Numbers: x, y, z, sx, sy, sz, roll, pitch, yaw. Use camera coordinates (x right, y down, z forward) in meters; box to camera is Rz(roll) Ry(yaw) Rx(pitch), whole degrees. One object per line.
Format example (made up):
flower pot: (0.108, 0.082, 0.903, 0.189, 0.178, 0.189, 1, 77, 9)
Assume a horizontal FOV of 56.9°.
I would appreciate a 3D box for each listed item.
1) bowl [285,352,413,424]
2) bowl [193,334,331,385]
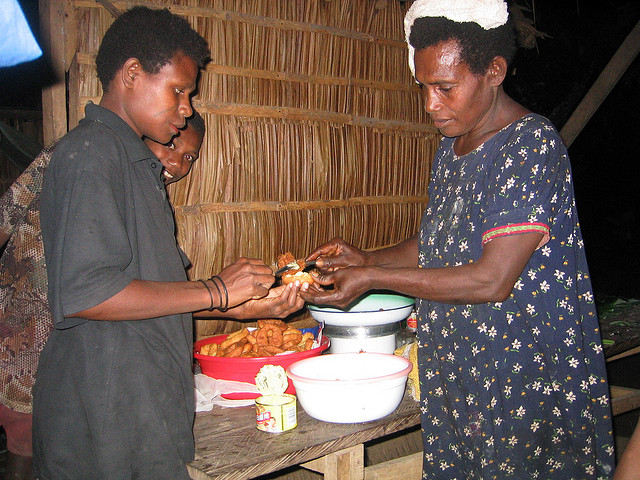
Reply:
bowl: (0.166, 0.689, 2.803, 0.657, 0.235, 0.660, 3, -6, 0)
bowl: (-0.341, 0.564, 3.068, 0.606, 0.208, 0.527, -5, 9, -45)
